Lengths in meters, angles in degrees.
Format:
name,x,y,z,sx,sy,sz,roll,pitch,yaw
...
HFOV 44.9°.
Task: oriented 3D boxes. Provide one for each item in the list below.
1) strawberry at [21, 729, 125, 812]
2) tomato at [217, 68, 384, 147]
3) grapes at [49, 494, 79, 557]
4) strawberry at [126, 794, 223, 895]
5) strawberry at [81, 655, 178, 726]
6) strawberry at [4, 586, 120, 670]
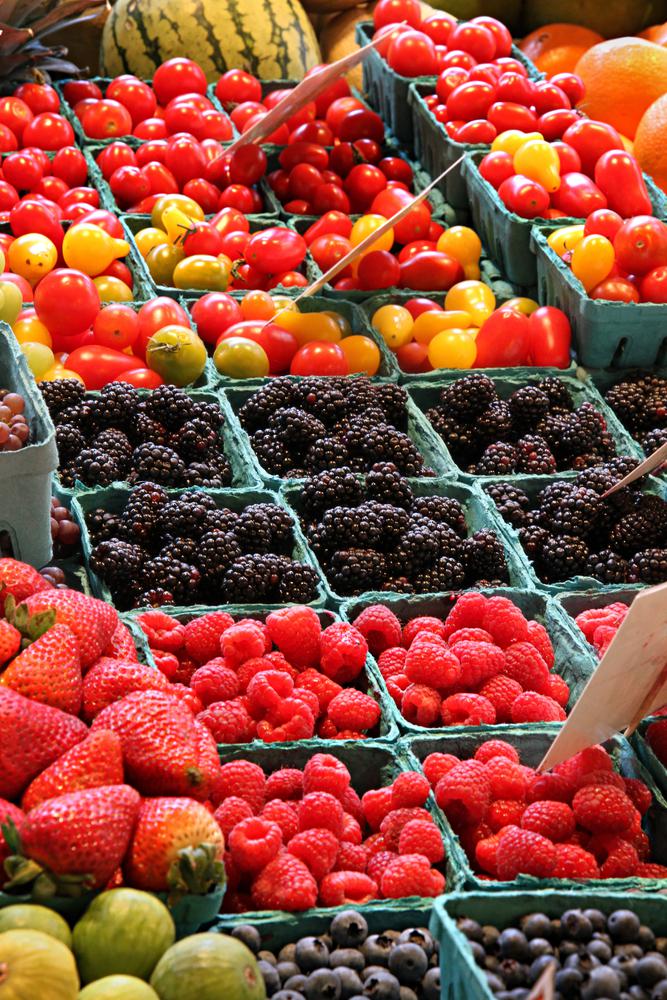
name,x,y,z,sx,sy,sz,roll,pitch,yaw
strawberry,-0.325,0.350,1.082,0.134,0.074,0.081,-32,2,2
tomato,-0.207,-1.684,3.461,0.370,0.317,0.356,-22,40,-30
grapes,-0.688,0.073,2.160,0.093,0.153,0.087,3,20,3
strawberry,-0.198,0.454,1.052,0.123,0.096,0.100,7,34,11
strawberry,-0.330,0.291,1.285,0.105,0.095,0.097,3,19,-1
strawberry,-0.437,0.207,1.364,0.158,0.149,0.118,-32,57,12
